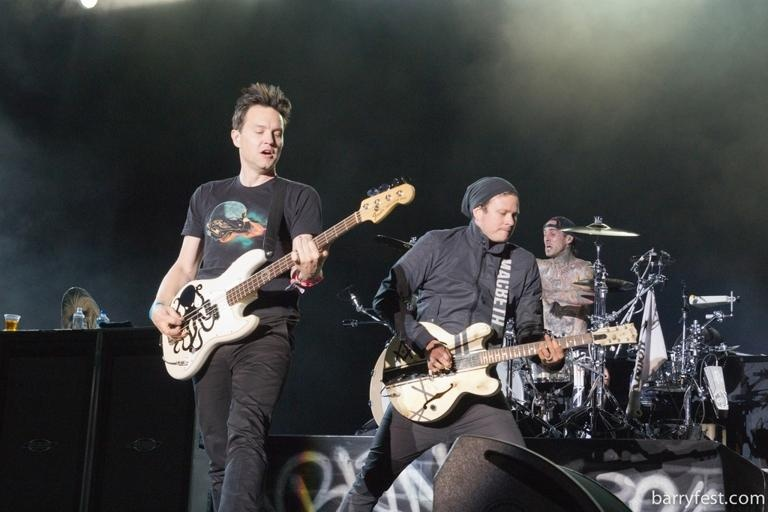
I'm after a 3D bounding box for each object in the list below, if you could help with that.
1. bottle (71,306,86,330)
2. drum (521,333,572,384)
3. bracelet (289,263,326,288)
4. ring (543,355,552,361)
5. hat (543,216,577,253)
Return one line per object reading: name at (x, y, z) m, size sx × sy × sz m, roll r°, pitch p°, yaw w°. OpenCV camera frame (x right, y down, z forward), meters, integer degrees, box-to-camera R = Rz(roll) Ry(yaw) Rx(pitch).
bottle at (-3.090, 0.610, 7.856) m, size 0.143 × 0.204 × 0.153 m, roll 2°, pitch -6°, yaw 0°
drum at (1.767, 1.134, 8.335) m, size 0.641 × 0.576 × 0.799 m, roll 0°, pitch -6°, yaw 6°
bracelet at (-0.639, 0.152, 6.309) m, size 0.183 × 0.099 × 0.270 m, roll 8°, pitch -31°, yaw -2°
ring at (1.328, 0.827, 6.340) m, size 0.045 × 0.045 × 0.015 m, roll 39°, pitch 12°, yaw 2°
hat at (2.152, -0.232, 9.731) m, size 0.405 × 0.529 × 0.417 m, roll -4°, pitch -8°, yaw 23°
